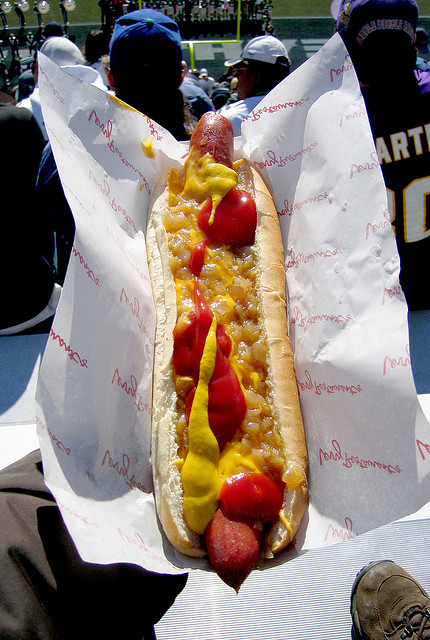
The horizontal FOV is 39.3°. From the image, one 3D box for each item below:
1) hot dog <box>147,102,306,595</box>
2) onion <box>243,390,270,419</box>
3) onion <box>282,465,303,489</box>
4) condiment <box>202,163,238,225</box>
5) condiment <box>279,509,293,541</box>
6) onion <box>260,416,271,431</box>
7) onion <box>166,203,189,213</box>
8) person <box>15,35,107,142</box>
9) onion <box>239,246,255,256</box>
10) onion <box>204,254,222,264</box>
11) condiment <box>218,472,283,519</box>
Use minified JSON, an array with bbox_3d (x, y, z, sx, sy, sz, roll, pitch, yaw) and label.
[{"bbox_3d":[0.016,0.043,2.430,0.507,0.534,1.934,-4,56,4],"label":"hot dog"},{"bbox_3d":[0.155,0.304,2.207,0.059,0.031,0.114,5,33,-25],"label":"onion"},{"bbox_3d":[0.269,0.535,2.044,0.078,0.042,0.053,-25,29,-35],"label":"onion"},{"bbox_3d":[0.015,-0.570,2.632,0.148,0.273,0.072,12,-15,3],"label":"condiment"},{"bbox_3d":[0.229,0.654,1.929,0.022,0.018,0.117,17,12,-12],"label":"condiment"},{"bbox_3d":[0.184,0.374,2.177,0.024,0.017,0.051,6,25,9],"label":"onion"},{"bbox_3d":[-0.163,-0.495,2.720,0.054,0.019,0.056,9,43,48],"label":"onion"},{"bbox_3d":[-1.112,-1.547,4.451,0.751,0.240,0.718,16,-2,-23],"label":"person"},{"bbox_3d":[0.141,-0.304,2.652,0.034,0.016,0.060,-2,44,9],"label":"onion"},{"bbox_3d":[-0.015,-0.252,2.503,0.041,0.016,0.043,-3,65,10],"label":"onion"},{"bbox_3d":[0.107,0.588,2.003,0.234,0.152,0.286,-2,-17,-12],"label":"condiment"}]
